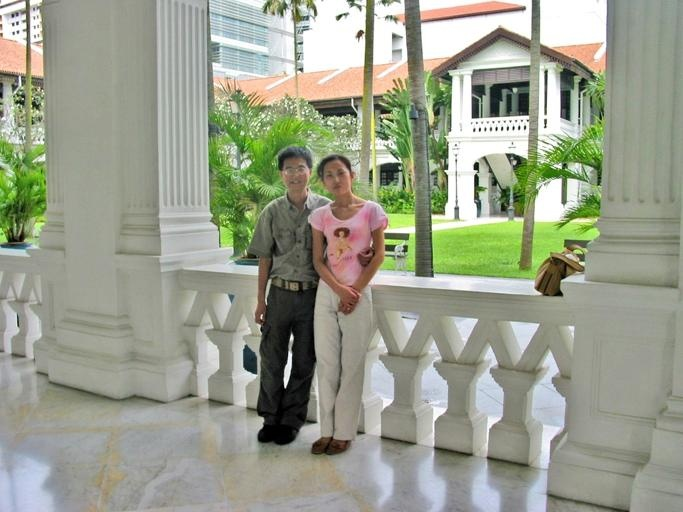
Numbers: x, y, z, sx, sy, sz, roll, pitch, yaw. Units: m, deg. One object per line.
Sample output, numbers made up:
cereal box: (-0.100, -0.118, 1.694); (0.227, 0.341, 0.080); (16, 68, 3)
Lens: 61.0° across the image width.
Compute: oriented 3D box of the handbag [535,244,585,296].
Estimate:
handbag: (1.327, 0.081, 3.561); (0.276, 0.295, 0.468); (3, 11, 19)

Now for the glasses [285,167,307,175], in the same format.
glasses: (-0.301, -0.581, 3.938); (0.143, 0.049, 0.040); (-3, 10, -13)

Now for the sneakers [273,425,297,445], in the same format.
sneakers: (-0.386, 1.223, 3.986); (0.152, 0.098, 0.124); (-2, 10, -5)

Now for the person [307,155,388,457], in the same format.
person: (0.047, 0.307, 3.806); (0.511, 1.931, 0.428); (-1, 10, 2)

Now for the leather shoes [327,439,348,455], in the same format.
leather shoes: (-0.025, 1.247, 3.785); (0.060, 0.067, 0.157); (-4, -6, 41)

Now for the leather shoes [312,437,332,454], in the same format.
leather shoes: (-0.133, 1.249, 3.804); (0.146, 0.063, 0.065); (6, -1, -27)
